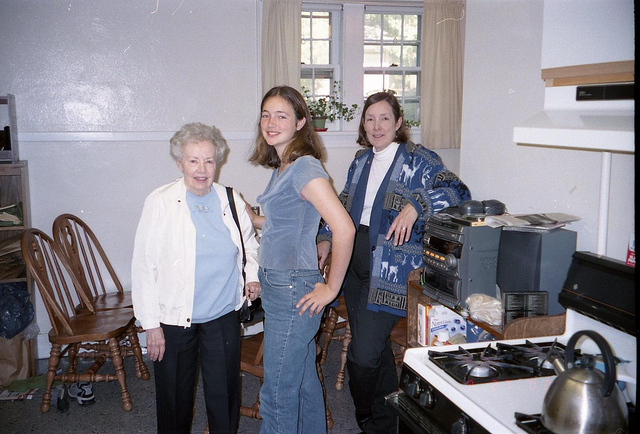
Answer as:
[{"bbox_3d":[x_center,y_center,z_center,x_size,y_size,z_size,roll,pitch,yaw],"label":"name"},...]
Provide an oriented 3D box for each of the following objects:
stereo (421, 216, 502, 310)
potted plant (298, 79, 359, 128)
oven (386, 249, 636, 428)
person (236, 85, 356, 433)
[{"bbox_3d":[0.678,0.210,2.252,0.279,0.388,0.328,-3,11,-12],"label":"stereo"},{"bbox_3d":[0.107,-1.040,4.359,0.515,0.422,0.409,0,10,-1],"label":"potted plant"},{"bbox_3d":[0.776,0.534,1.699,0.927,0.648,0.508,-4,13,-15],"label":"oven"},{"bbox_3d":[-0.145,0.416,2.372,0.501,2.113,0.668,-3,13,-10],"label":"person"}]
